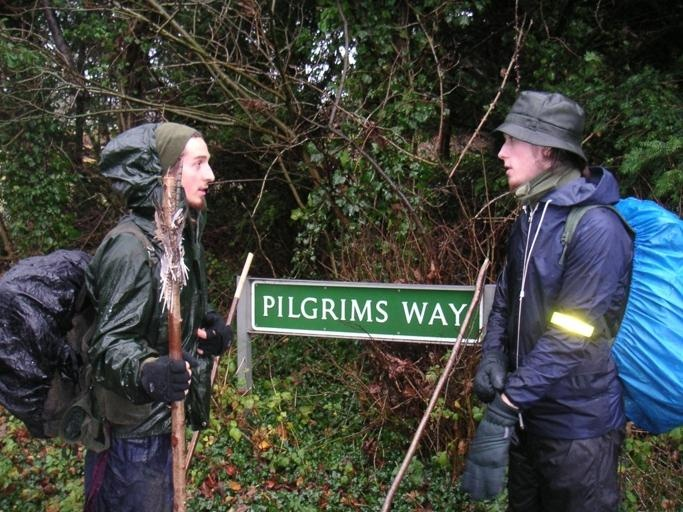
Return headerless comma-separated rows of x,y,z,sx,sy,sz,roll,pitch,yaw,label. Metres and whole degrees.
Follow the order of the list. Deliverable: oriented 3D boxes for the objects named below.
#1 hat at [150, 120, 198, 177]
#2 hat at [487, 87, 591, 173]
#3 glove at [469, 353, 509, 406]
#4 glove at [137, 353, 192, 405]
-1.069,-0.679,4.682,0.326,0.327,0.245,6,15,-36,hat
1.394,-0.932,5.064,0.620,0.354,0.568,23,25,18,hat
1.002,0.837,4.989,0.121,0.294,0.288,11,-7,-12,glove
-1.060,0.702,4.377,0.291,0.305,0.239,-14,-10,17,glove
